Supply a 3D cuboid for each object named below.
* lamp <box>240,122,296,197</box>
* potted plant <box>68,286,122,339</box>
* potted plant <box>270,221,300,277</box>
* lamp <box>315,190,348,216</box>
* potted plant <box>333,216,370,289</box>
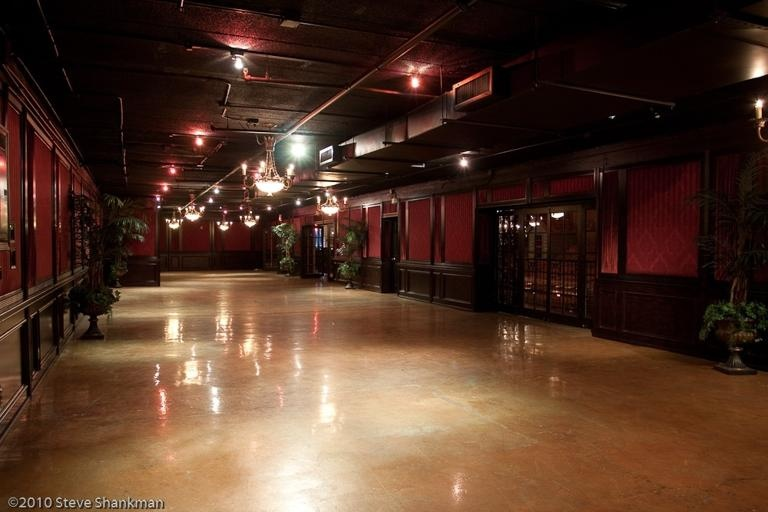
[{"bbox_3d":[-2.400,-1.841,10.318,1.096,1.248,1.092,-1,5,-18],"label":"lamp"},{"bbox_3d":[-5.129,1.023,8.774,0.701,0.765,0.718,7,-2,-43],"label":"potted plant"},{"bbox_3d":[-4.650,-0.313,23.283,0.931,2.439,2.254,-2,6,-18],"label":"potted plant"},{"bbox_3d":[-1.952,-1.984,17.476,1.115,1.321,1.080,2,3,0],"label":"lamp"},{"bbox_3d":[-1.282,-0.085,17.851,0.852,2.343,2.423,-1,5,-13],"label":"potted plant"}]
